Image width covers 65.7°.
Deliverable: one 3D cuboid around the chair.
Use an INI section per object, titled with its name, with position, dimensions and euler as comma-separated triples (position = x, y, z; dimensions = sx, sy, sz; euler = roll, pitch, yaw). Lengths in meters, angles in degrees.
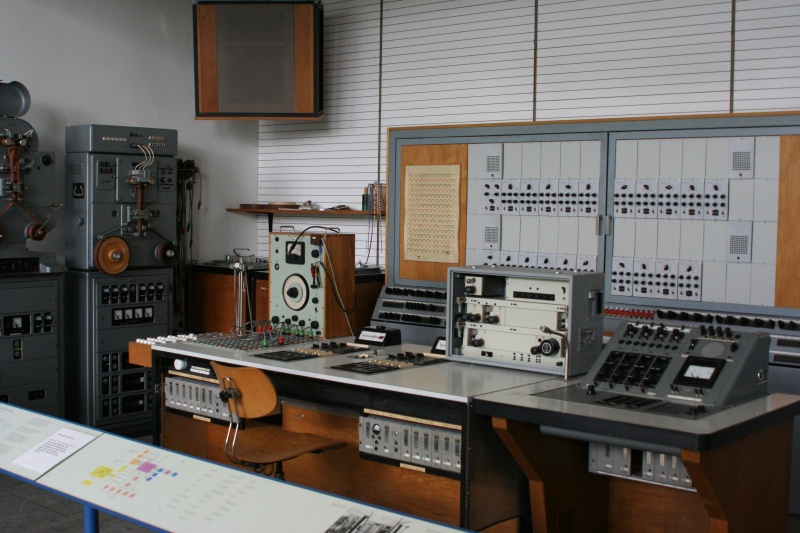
[chair]
position = -0.749, 1.183, 4.054
dimensions = 0.781, 1.062, 0.752
euler = 3, -11, -33
